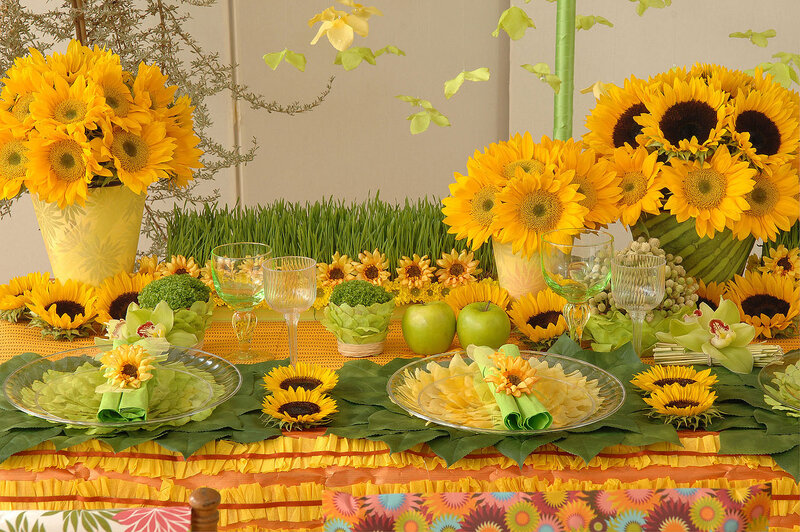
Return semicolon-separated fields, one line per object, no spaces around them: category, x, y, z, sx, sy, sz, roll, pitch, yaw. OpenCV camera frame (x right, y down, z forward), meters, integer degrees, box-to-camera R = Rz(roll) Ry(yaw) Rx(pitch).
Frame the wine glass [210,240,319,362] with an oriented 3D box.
wine glass;-0.257;0.080;1.482;0.186;0.189;0.108;8;17;20

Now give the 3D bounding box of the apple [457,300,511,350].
apple;0.175;0.108;1.500;0.084;0.108;0.090;8;19;8

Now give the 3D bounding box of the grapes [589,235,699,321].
grapes;0.542;0.042;1.565;0.165;0.171;0.078;-10;-68;4

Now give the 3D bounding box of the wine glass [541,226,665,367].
wine glass;0.384;0.066;1.417;0.204;0.125;0.232;6;-67;16
